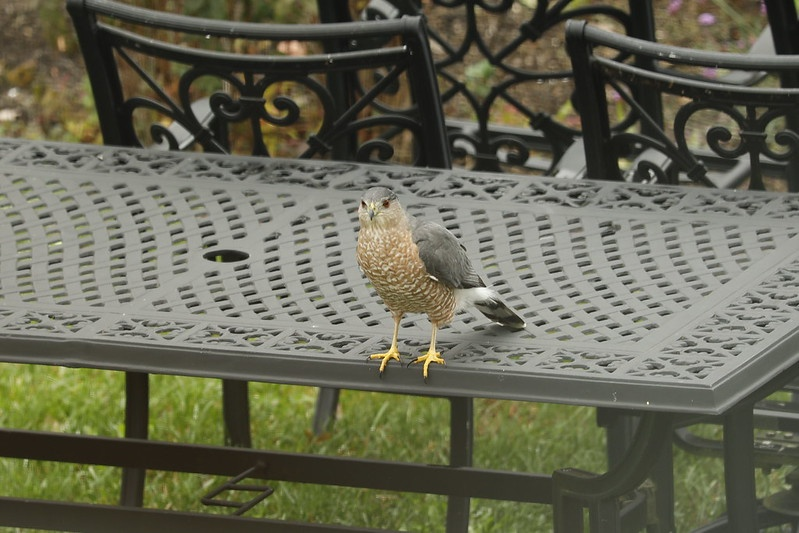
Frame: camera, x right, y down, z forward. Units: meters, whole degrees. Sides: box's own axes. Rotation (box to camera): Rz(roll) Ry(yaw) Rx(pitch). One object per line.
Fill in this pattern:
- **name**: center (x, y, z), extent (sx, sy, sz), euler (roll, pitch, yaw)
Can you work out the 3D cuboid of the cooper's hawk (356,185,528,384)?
- **cooper's hawk**: center (0.094, 0.027, 5.573), extent (0.363, 0.503, 0.694), euler (-3, 3, 32)
